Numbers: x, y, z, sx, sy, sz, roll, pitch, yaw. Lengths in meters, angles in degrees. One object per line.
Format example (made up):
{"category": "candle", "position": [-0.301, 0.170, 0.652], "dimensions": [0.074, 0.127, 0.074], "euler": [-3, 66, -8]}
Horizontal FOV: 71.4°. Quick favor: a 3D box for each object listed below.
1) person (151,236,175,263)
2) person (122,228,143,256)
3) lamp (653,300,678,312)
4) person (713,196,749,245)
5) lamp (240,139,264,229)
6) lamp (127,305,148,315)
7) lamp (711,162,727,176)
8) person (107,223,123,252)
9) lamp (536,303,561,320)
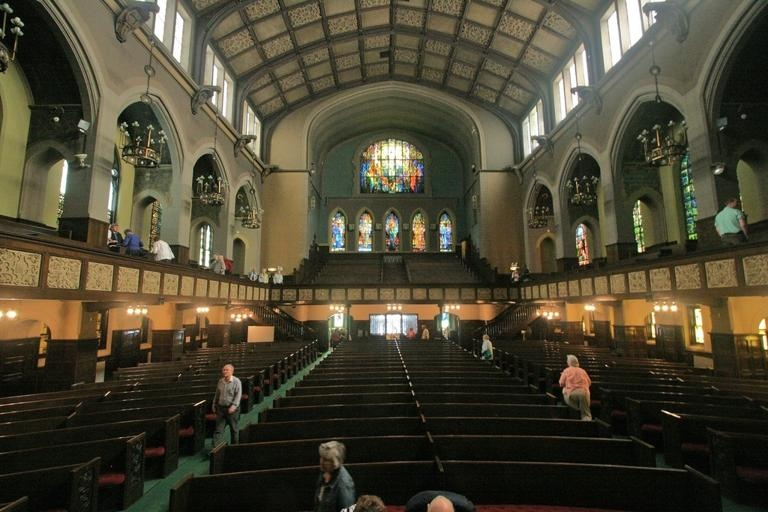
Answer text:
{"category": "person", "position": [-7.970, -0.240, 19.236], "dimensions": [0.602, 0.986, 1.001], "euler": [2, -9, -25]}
{"category": "person", "position": [-8.659, -0.447, 18.379], "dimensions": [0.596, 0.865, 0.570], "euler": [2, -10, -28]}
{"category": "lamp", "position": [10.716, 1.940, 20.409], "dimensions": [0.827, 0.399, 2.771], "euler": [-6, -9, 28]}
{"category": "person", "position": [10.441, -1.000, 16.113], "dimensions": [0.734, 1.341, 0.567], "euler": [-7, -10, 31]}
{"category": "lamp", "position": [-6.586, -3.696, 26.545], "dimensions": [1.134, 4.553, 1.152], "euler": [0, 8, -21]}
{"category": "lamp", "position": [-9.252, 2.057, 20.056], "dimensions": [0.855, 0.206, 0.789], "euler": [3, -11, -30]}
{"category": "lamp", "position": [10.807, -2.795, 17.203], "dimensions": [0.519, 0.335, 0.514], "euler": [1, -3, -17]}
{"category": "person", "position": [-9.409, -0.664, 18.702], "dimensions": [0.468, 1.206, 1.879], "euler": [2, -9, -27]}
{"category": "lamp", "position": [8.308, 2.727, 26.703], "dimensions": [1.002, 0.883, 0.986], "euler": [5, -9, -29]}
